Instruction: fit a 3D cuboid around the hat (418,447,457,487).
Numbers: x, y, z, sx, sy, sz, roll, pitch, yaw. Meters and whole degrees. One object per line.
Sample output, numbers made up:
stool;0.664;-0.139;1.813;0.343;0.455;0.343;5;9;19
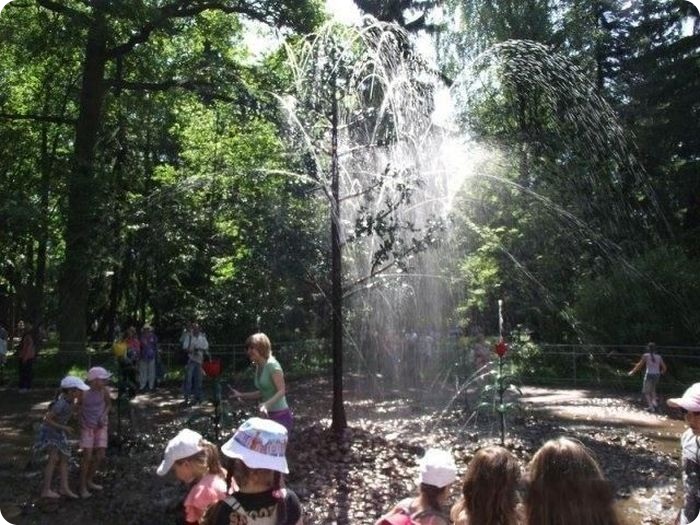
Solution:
hat;1.161;2.900;9.436;0.310;0.424;0.456;6;-4;23

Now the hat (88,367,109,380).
hat;-4.949;2.170;13.473;0.357;0.261;0.292;-2;10;-19

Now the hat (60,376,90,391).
hat;-5.276;2.308;13.094;0.407;0.254;0.305;7;-3;-28

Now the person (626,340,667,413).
person;9.281;3.589;21.404;1.375;3.055;0.842;1;1;2

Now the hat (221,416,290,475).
hat;-1.240;2.481;9.222;0.759;0.466;0.636;26;7;-12
